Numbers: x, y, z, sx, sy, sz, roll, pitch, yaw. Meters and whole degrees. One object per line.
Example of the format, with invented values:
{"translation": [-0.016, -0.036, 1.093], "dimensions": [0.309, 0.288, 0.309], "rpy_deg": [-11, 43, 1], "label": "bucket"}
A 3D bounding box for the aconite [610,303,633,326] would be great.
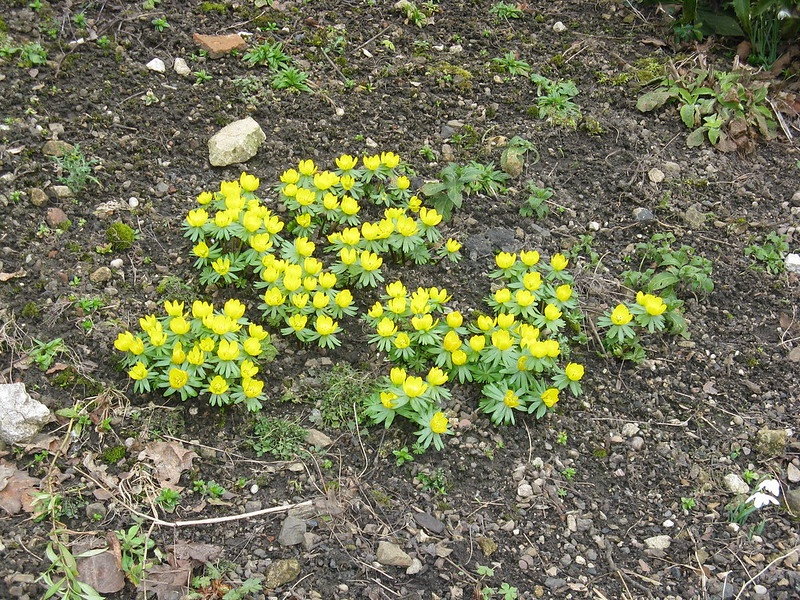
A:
{"translation": [1.434, 0.104, 5.107], "dimensions": [0.117, 0.114, 0.143], "rpy_deg": [27, 71, 11], "label": "aconite"}

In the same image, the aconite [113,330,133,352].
{"translation": [-1.715, 0.246, 4.869], "dimensions": [0.110, 0.062, 0.132], "rpy_deg": [-28, 57, -24], "label": "aconite"}

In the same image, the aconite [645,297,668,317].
{"translation": [1.670, 0.041, 5.153], "dimensions": [0.112, 0.089, 0.129], "rpy_deg": [15, 21, -11], "label": "aconite"}
